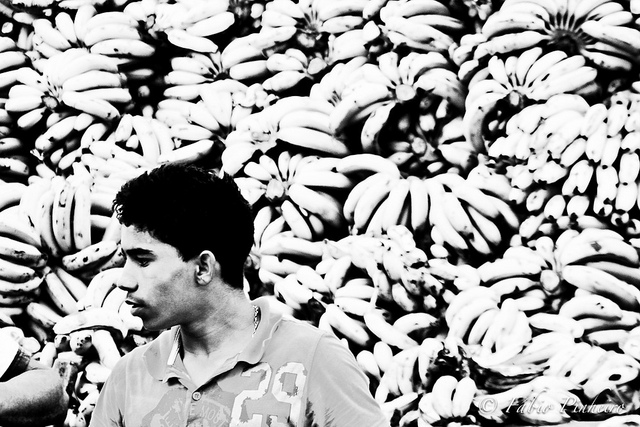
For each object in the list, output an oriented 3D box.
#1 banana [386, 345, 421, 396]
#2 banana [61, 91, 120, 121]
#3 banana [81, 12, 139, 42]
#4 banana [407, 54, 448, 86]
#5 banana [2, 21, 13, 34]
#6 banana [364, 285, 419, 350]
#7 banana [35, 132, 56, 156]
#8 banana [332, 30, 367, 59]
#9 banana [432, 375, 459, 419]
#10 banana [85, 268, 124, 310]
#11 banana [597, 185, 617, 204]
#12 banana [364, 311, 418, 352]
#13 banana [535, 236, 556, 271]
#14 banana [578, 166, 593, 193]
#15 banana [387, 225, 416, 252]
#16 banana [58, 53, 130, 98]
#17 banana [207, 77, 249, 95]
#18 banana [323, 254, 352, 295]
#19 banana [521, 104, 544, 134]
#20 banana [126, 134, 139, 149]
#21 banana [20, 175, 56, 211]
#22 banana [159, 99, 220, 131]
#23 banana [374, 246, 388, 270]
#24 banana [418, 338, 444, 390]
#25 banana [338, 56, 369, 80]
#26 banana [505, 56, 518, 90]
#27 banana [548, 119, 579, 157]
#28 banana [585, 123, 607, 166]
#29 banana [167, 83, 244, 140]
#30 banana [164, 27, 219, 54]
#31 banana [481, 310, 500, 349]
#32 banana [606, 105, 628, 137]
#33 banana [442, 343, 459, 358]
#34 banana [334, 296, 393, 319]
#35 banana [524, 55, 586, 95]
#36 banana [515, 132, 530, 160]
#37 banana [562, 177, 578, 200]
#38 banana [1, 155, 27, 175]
[{"bbox_3d":[0.306,0.576,2.801,0.083,0.175,0.132,22,36,16],"label":"banana"},{"bbox_3d":[-1.114,-0.526,3.514,0.275,0.090,0.091,10,11,-37],"label":"banana"},{"bbox_3d":[-1.021,-0.886,3.577,0.225,0.069,0.195,-12,23,-5],"label":"banana"},{"bbox_3d":[0.446,-0.615,3.077,0.040,0.126,0.158,-5,34,49],"label":"banana"},{"bbox_3d":[-1.636,-0.976,3.832,0.039,0.014,0.061,15,79,-10],"label":"banana"},{"bbox_3d":[0.264,0.410,2.841,0.105,0.157,0.261,-23,48,-39],"label":"banana"},{"bbox_3d":[-1.340,-0.342,3.542,0.060,0.113,0.043,49,19,3],"label":"banana"},{"bbox_3d":[0.128,-0.774,3.280,0.158,0.043,0.087,-30,48,4],"label":"banana"},{"bbox_3d":[0.449,0.650,2.621,0.098,0.044,0.135,21,78,-3],"label":"banana"},{"bbox_3d":[-0.964,0.307,3.216,0.108,0.102,0.218,21,37,14],"label":"banana"},{"bbox_3d":[1.078,-0.077,2.750,0.049,0.073,0.017,2,3,15],"label":"banana"},{"bbox_3d":[0.280,0.448,2.849,0.191,0.056,0.065,33,11,8],"label":"banana"},{"bbox_3d":[0.864,0.147,2.807,0.035,0.050,0.134,4,68,-65],"label":"banana"},{"bbox_3d":[1.013,-0.133,2.800,0.031,0.088,0.087,25,37,20],"label":"banana"},{"bbox_3d":[0.328,0.087,2.930,0.042,0.075,0.123,-28,53,-28],"label":"banana"},{"bbox_3d":[-1.106,-0.625,3.507,0.463,0.133,0.081,14,19,41],"label":"banana"},{"bbox_3d":[-0.430,-0.602,3.444,0.185,0.044,0.072,5,27,-11],"label":"banana"},{"bbox_3d":[0.071,0.240,3.013,0.086,0.056,0.177,19,78,-9],"label":"banana"},{"bbox_3d":[0.832,-0.367,2.864,0.044,0.041,0.155,19,67,39],"label":"banana"},{"bbox_3d":[-0.891,-0.348,3.488,0.044,0.018,0.065,33,68,-8],"label":"banana"},{"bbox_3d":[-1.310,-0.088,3.383,0.110,0.052,0.227,27,36,-2],"label":"banana"},{"bbox_3d":[-0.604,-0.466,3.442,0.265,0.055,0.076,22,76,33],"label":"banana"},{"bbox_3d":[0.244,0.164,2.872,0.040,0.122,0.031,3,12,-6],"label":"banana"},{"bbox_3d":[0.398,0.551,2.722,0.044,0.181,0.095,0,16,-26],"label":"banana"},{"bbox_3d":[0.144,-0.661,3.276,0.067,0.086,0.145,31,40,26],"label":"banana"},{"bbox_3d":[0.777,-0.582,3.002,0.039,0.041,0.158,-14,52,18],"label":"banana"},{"bbox_3d":[0.944,-0.301,2.845,0.059,0.054,0.205,20,65,46],"label":"banana"},{"bbox_3d":[1.058,-0.267,2.809,0.068,0.128,0.126,23,37,17],"label":"banana"},{"bbox_3d":[-0.524,-0.465,3.419,0.241,0.315,0.080,53,12,24],"label":"banana"},{"bbox_3d":[-0.619,-0.820,3.490,0.273,0.095,0.079,15,35,4],"label":"banana"},{"bbox_3d":[0.650,0.439,2.763,0.035,0.179,0.045,19,-11,-36],"label":"banana"},{"bbox_3d":[1.135,-0.364,2.801,0.067,0.041,0.131,14,75,8],"label":"banana"},{"bbox_3d":[0.485,0.503,2.711,0.058,0.033,0.044,23,37,16],"label":"banana"},{"bbox_3d":[0.175,0.372,2.909,0.152,0.043,0.049,16,15,0],"label":"banana"},{"bbox_3d":[0.942,-0.550,2.915,0.053,0.197,0.051,52,9,-10],"label":"banana"},{"bbox_3d":[0.790,-0.262,2.848,0.049,0.035,0.109,15,73,8],"label":"banana"},{"bbox_3d":[0.959,-0.094,2.811,0.054,0.078,0.033,26,37,21],"label":"banana"},{"bbox_3d":[-1.499,-0.245,3.581,0.111,0.072,0.076,-5,38,-22],"label":"banana"}]
